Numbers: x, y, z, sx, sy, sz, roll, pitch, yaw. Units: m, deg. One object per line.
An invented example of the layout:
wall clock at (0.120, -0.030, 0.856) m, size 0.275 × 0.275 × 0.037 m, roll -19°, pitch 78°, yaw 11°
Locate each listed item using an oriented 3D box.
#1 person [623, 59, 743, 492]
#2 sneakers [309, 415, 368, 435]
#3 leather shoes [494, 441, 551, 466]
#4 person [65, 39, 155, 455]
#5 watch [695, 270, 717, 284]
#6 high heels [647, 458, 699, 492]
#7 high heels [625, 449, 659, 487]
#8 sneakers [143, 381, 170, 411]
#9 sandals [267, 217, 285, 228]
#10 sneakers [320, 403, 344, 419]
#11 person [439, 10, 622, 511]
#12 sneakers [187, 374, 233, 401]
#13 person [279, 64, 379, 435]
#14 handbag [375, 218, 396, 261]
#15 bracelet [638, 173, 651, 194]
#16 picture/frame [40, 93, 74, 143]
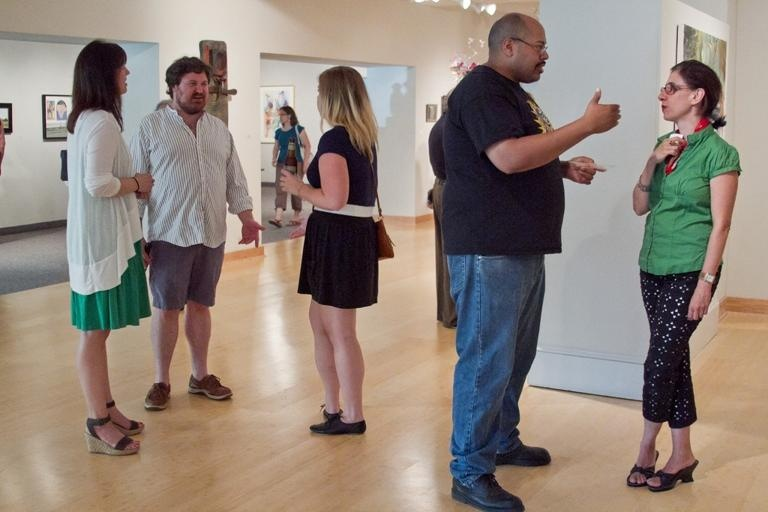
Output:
person at (1.602, 0.094, 3.168) m, size 0.488 × 2.255 × 0.677 m, roll 5°, pitch 13°, yaw 21°
sneakers at (-0.286, 1.080, 3.732) m, size 0.347 × 0.139 × 0.129 m, roll 3°, pitch -12°, yaw 3°
leather shoes at (0.815, 1.149, 3.392) m, size 0.343 × 0.140 × 0.128 m, roll -3°, pitch 4°, yaw -1°
person at (-1.636, -0.051, 3.446) m, size 0.482 × 2.396 × 0.580 m, roll -3°, pitch 13°, yaw -14°
watch at (1.685, 0.105, 3.024) m, size 0.078 × 0.052 × 0.080 m, roll 14°, pitch 11°, yaw 14°
high heels at (1.569, 1.207, 3.211) m, size 0.319 × 0.139 × 0.116 m, roll -6°, pitch 2°, yaw -14°
high heels at (1.437, 1.193, 3.240) m, size 0.103 × 0.064 × 0.286 m, roll 14°, pitch 14°, yaw 28°
sneakers at (-1.569, 0.973, 4.002) m, size 0.102 × 0.108 × 0.246 m, roll 2°, pitch -2°, yaw -7°
sandals at (-1.989, -0.620, 10.664) m, size 0.266 × 0.115 × 0.103 m, roll 27°, pitch 35°, yaw 28°
sneakers at (-0.345, 1.034, 3.809) m, size 0.074 × 0.076 × 0.191 m, roll -3°, pitch 9°, yaw -26°
person at (0.637, 0.063, 2.896) m, size 0.689 × 2.443 × 0.478 m, roll 1°, pitch 12°, yaw 2°
sneakers at (-1.245, 0.942, 4.223) m, size 0.341 × 0.150 × 0.136 m, roll 8°, pitch 2°, yaw 13°
person at (-0.306, -0.018, 3.605) m, size 0.552 × 2.245 × 0.396 m, roll 0°, pitch 12°, yaw -1°
handbag at (-0.013, -0.110, 3.748) m, size 0.105 × 0.273 × 0.277 m, roll -7°, pitch -2°, yaw -7°
bracelet at (1.484, -0.404, 3.295) m, size 0.019 × 0.073 × 0.072 m, roll -13°, pitch 11°, yaw -24°
picture/frame at (-5.920, -2.564, 10.682) m, size 0.868 × 0.868 × 0.086 m, roll 3°, pitch 7°, yaw 17°
